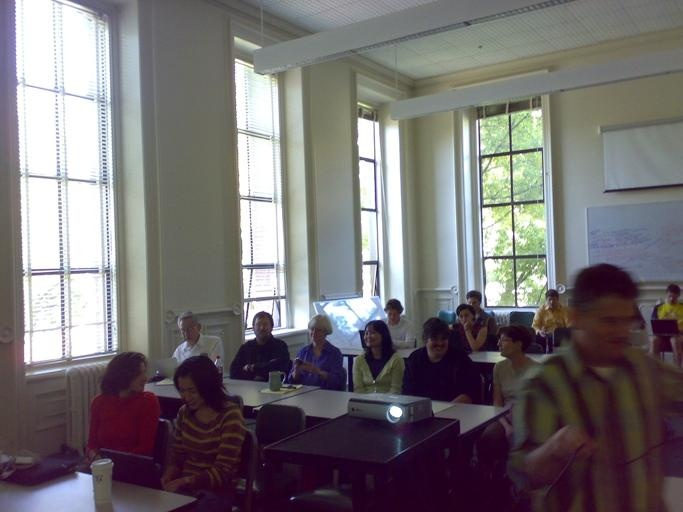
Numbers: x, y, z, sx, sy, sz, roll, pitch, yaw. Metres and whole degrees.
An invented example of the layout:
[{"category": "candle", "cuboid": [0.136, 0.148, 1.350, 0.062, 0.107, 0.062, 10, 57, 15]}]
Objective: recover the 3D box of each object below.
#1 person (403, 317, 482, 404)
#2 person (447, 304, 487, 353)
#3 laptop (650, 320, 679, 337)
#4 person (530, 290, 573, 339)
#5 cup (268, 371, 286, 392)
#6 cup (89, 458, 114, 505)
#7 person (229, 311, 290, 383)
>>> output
[{"category": "person", "cuboid": [0.781, 0.928, 4.547, 0.650, 0.843, 0.489, -1, -3, 21]}, {"category": "person", "cuboid": [1.453, 0.934, 6.506, 0.476, 0.798, 0.365, 2, 6, 16]}, {"category": "laptop", "cuboid": [4.019, 0.880, 6.988, 0.289, 0.217, 0.208, -4, -6, 41]}, {"category": "person", "cuboid": [2.943, 0.863, 7.875, 0.550, 0.772, 0.558, -6, 8, -17]}, {"category": "cup", "cuboid": [-0.534, 1.026, 4.661, 0.104, 0.174, 0.179, -6, -8, 32]}, {"category": "cup", "cuboid": [-1.164, 1.080, 2.739, 0.085, 0.172, 0.162, -2, 0, -24]}, {"category": "person", "cuboid": [-0.790, 0.957, 5.534, 0.565, 0.841, 0.431, -4, -14, 16]}]
